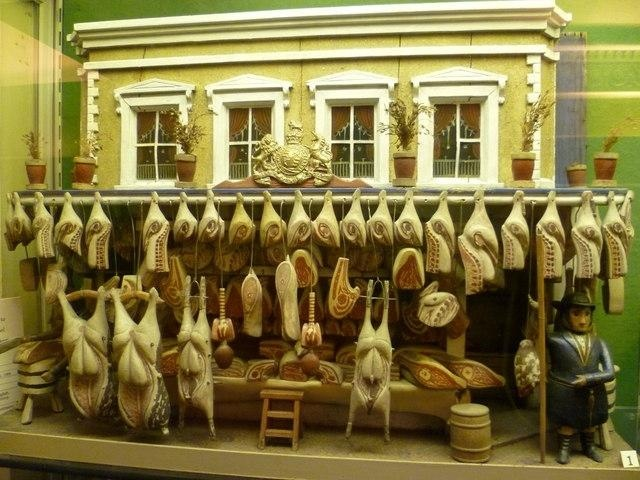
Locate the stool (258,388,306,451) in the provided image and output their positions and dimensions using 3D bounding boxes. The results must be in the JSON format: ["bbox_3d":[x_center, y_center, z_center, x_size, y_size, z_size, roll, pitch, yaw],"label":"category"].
[{"bbox_3d":[-0.401,1.858,7.236,0.484,0.668,0.477,1,-9,2],"label":"stool"}]

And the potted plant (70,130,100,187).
[{"bbox_3d":[-2.740,-0.950,8.270,0.310,0.691,0.683,0,3,-18],"label":"potted plant"}]

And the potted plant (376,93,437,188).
[{"bbox_3d":[0.950,-1.094,7.807,0.533,0.964,0.549,4,-1,-25],"label":"potted plant"}]

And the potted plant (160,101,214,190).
[{"bbox_3d":[-1.641,-1.113,8.233,0.643,0.974,0.751,1,2,0],"label":"potted plant"}]

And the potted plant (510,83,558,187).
[{"bbox_3d":[2.351,-1.145,7.800,0.434,1.118,0.746,2,3,19],"label":"potted plant"}]

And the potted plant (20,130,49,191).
[{"bbox_3d":[-3.249,-0.933,8.039,0.242,0.683,0.481,0,3,-22],"label":"potted plant"}]

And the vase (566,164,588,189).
[{"bbox_3d":[2.720,-0.690,7.475,0.198,0.235,0.215,0,-4,0],"label":"vase"}]

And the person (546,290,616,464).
[{"bbox_3d":[2.562,1.351,6.969,0.608,1.627,0.464,1,2,2],"label":"person"}]
